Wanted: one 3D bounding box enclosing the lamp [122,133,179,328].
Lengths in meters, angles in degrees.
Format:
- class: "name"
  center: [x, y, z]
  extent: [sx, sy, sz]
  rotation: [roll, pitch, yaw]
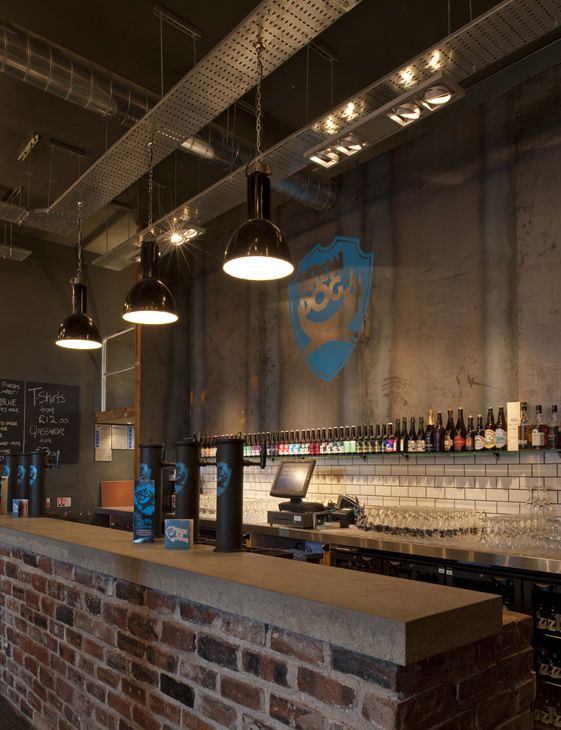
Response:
- class: "lamp"
  center: [-0.716, -0.727, 3.670]
  extent: [0.228, 0.924, 0.234]
  rotation: [-6, -5, 41]
